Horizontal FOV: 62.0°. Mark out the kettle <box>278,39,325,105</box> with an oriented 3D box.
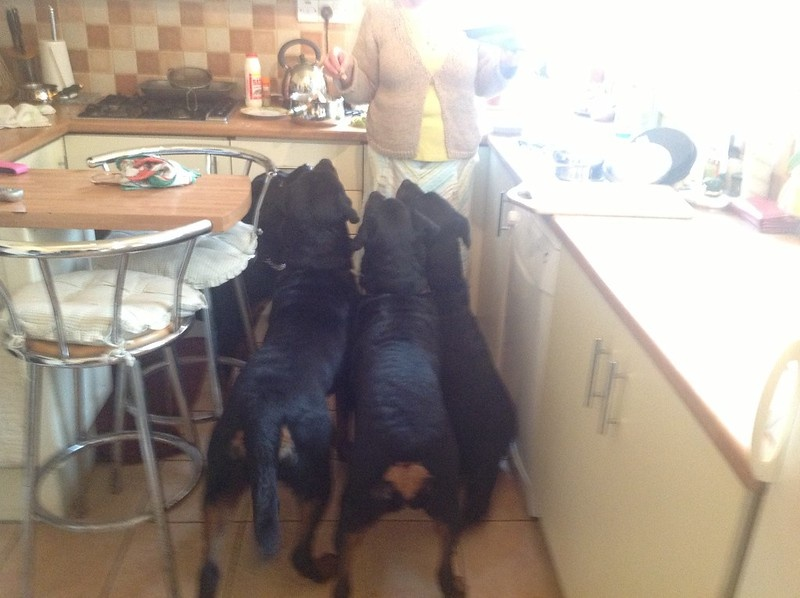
[{"bbox_3d":[-0.483,-1.116,3.326,0.215,0.317,0.197,-5,10,4],"label":"kettle"}]
